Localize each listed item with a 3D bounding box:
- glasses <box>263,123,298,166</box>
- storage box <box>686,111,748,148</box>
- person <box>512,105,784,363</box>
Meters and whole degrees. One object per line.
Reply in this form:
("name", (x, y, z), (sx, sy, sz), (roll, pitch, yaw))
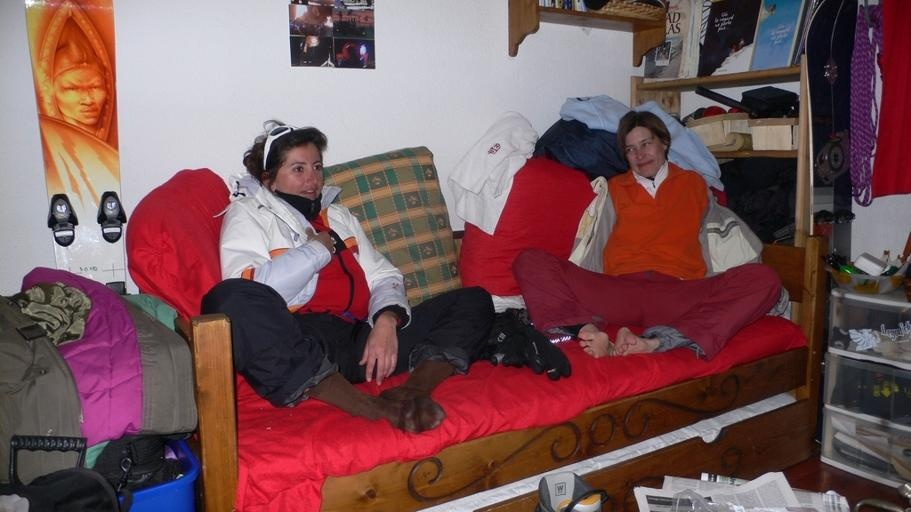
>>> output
("glasses", (-0.887, -0.547, 3.235), (0.206, 0.188, 0.077), (-18, 43, -34))
("storage box", (1.673, -0.792, 4.071), (0.267, 0.150, 0.250), (-14, 17, -19))
("person", (1.048, -0.165, 3.612), (1.448, 1.281, 1.031), (-1, 10, 24))
